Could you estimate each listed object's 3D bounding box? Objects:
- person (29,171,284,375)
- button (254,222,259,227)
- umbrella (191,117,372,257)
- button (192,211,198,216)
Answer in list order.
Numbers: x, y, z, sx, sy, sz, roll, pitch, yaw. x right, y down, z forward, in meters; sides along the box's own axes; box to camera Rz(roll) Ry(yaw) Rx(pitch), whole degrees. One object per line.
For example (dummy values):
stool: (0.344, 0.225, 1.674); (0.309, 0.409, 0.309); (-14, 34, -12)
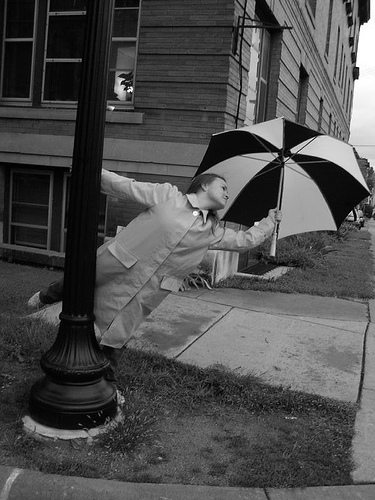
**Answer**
person: (-0.257, 0.050, 2.805); (0.886, 1.592, 0.340); (38, 6, -5)
button: (0.460, -0.176, 3.111); (0.027, 0.029, 0.028); (-40, -5, 35)
umbrella: (0.889, -0.556, 3.829); (1.376, 1.119, 1.163); (9, 11, 25)
button: (0.040, -0.212, 2.669); (0.028, 0.027, 0.014); (4, 8, -12)
